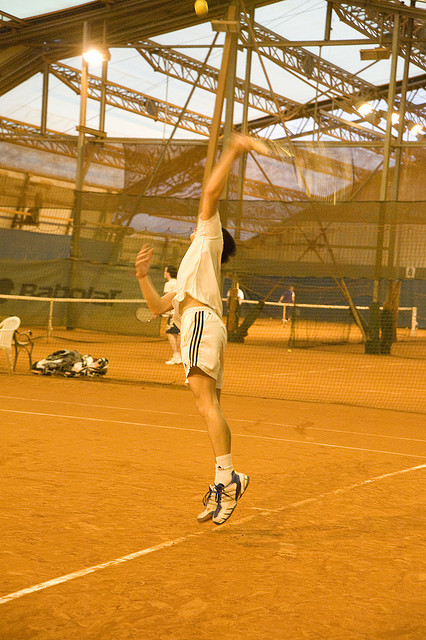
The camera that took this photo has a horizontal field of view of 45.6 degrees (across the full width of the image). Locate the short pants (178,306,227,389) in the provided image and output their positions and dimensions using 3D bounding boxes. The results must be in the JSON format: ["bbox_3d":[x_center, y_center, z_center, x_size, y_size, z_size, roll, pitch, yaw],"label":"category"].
[{"bbox_3d":[-0.041,0.114,2.445,0.202,0.294,0.241,-9,-20,15],"label":"short pants"}]

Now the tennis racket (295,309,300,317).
[{"bbox_3d":[4.621,-0.343,27.563,0.071,0.414,0.857,7,0,19],"label":"tennis racket"}]

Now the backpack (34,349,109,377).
[{"bbox_3d":[-2.463,0.782,8.879,1.161,0.458,0.542,6,0,-7],"label":"backpack"}]
